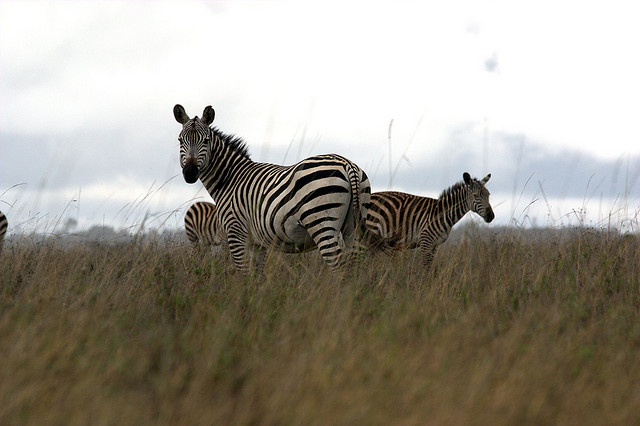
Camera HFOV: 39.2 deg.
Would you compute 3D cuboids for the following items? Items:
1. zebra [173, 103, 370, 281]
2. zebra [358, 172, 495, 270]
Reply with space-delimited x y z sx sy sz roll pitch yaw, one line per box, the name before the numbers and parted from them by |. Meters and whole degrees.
zebra | -0.690 -0.105 11.655 3.000 2.551 0.952 4 -2 37
zebra | 1.529 0.327 13.849 2.163 1.869 0.669 2 2 27
